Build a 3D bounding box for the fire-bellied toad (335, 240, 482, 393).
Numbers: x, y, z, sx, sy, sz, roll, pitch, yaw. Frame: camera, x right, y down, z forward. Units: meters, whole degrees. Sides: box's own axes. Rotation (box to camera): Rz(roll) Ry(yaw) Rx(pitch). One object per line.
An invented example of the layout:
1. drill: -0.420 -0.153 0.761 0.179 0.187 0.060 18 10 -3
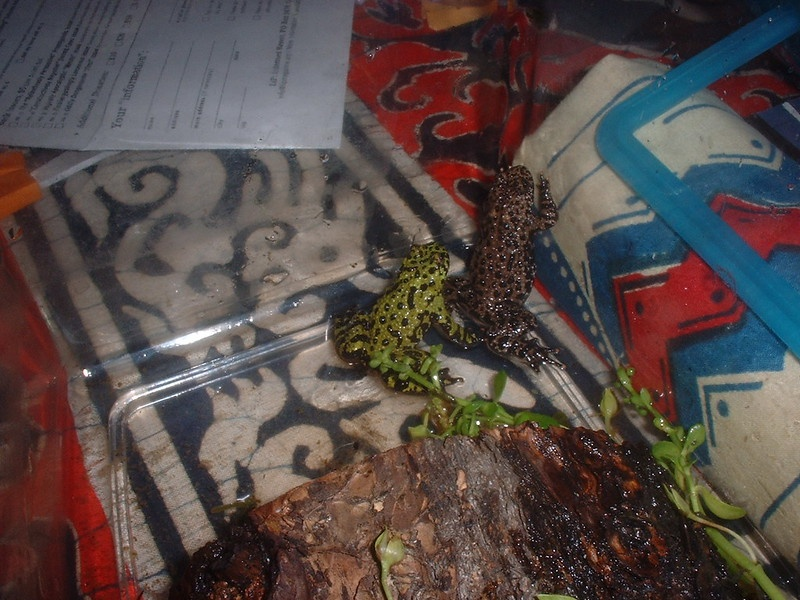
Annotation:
1. fire-bellied toad: 0.005 0.031 2.219 0.523 0.220 0.551 19 53 19
